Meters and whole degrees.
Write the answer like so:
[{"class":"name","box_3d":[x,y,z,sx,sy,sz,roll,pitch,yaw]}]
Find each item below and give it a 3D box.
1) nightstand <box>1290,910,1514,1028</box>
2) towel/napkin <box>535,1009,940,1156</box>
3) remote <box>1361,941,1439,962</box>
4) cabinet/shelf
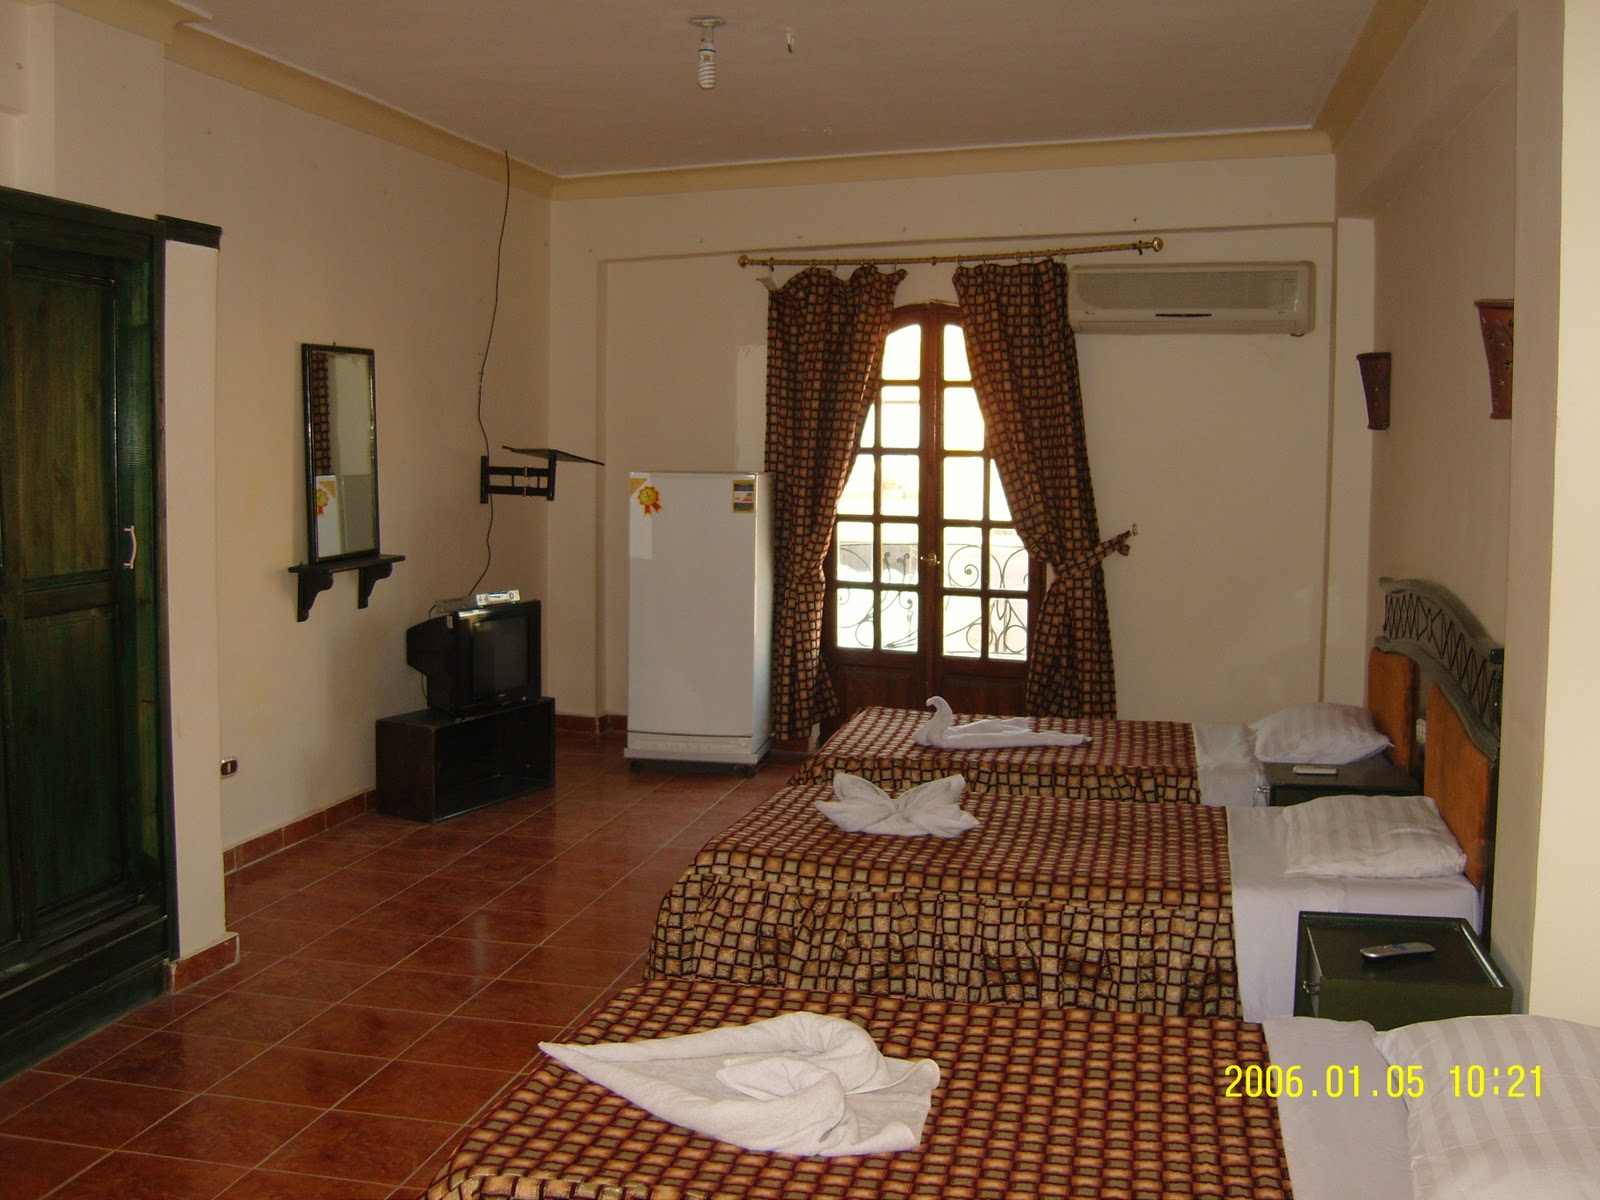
[{"class":"nightstand","box_3d":[1.673,0.991,3.730,0.586,0.278,0.705,3,7,9]},{"class":"towel/napkin","box_3d":[-0.075,1.138,3.046,0.952,0.136,0.745,3,0,38]},{"class":"remote","box_3d":[1.716,1.005,3.578,0.157,0.023,0.083,-4,4,-3]},{"class":"cabinet/shelf","box_3d":[-1.799,0.847,6.854,0.976,0.545,0.342,-7,12,-39]}]
